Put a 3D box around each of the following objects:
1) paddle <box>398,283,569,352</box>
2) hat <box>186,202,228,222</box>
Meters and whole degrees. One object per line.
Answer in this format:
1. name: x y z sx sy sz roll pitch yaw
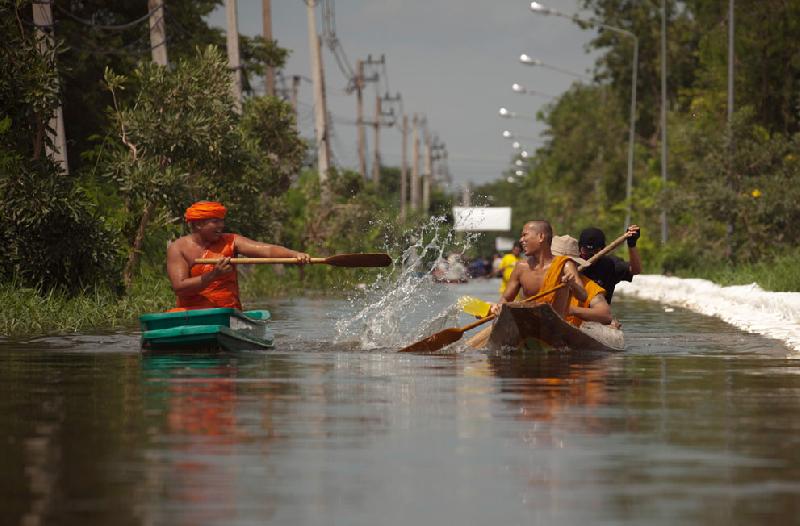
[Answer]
1. paddle: 1.678 1.228 34.172 3.294 0.150 0.265 -25 -57 24
2. hat: -4.025 -1.037 31.976 0.751 0.433 0.460 0 -3 -12
